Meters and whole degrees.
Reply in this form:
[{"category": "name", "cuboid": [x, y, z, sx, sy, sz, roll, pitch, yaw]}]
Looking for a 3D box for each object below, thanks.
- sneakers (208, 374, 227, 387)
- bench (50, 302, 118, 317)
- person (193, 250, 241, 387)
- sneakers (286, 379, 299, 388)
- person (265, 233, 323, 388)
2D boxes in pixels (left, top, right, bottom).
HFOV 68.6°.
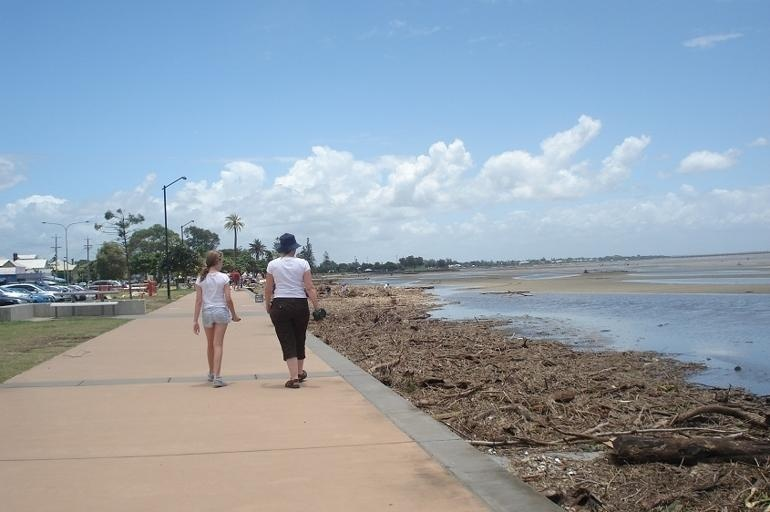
[{"category": "sneakers", "cuboid": [-2.931, 2.184, 9.849, 0.159, 0.142, 0.416, 16, 5, 26]}, {"category": "bench", "cuboid": [-13.085, 2.307, 24.501, 2.879, 0.549, 0.644, -3, -1, 13]}, {"category": "person", "cuboid": [-3.031, 1.085, 10.116, 0.641, 2.202, 0.693, -4, -1, -42]}, {"category": "sneakers", "cuboid": [-1.598, 2.185, 9.700, 0.249, 0.144, 0.139, -3, -1, 12]}, {"category": "person", "cuboid": [-1.628, 0.934, 9.873, 0.893, 2.518, 0.866, -4, -1, -7]}]
